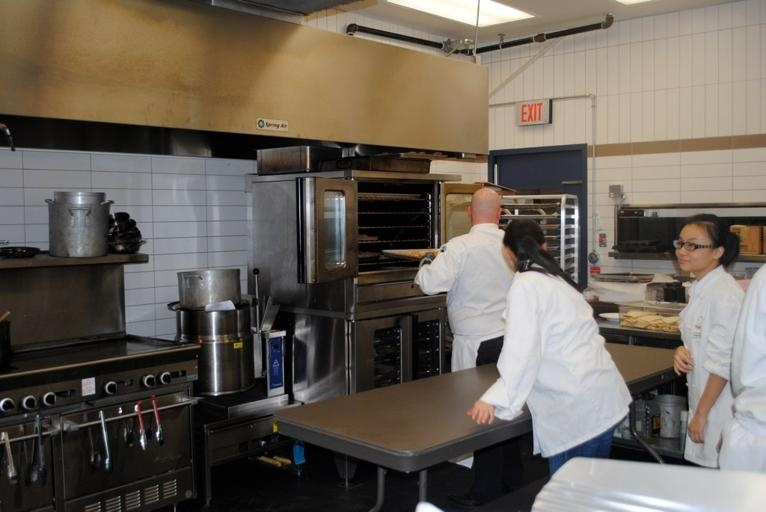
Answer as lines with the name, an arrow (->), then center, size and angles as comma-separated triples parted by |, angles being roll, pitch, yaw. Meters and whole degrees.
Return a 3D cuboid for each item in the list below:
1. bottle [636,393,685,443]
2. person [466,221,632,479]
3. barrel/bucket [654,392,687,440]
bottle -> 1.942, 1.129, 4.205 | 0.365, 0.256, 0.270 | -3, -4, 36
person -> 0.774, 0.435, 2.859 | 0.835, 1.204, 0.332 | -2, 6, -11
barrel/bucket -> 2.030, 1.124, 4.252 | 0.196, 0.291, 0.207 | 3, -4, 0
